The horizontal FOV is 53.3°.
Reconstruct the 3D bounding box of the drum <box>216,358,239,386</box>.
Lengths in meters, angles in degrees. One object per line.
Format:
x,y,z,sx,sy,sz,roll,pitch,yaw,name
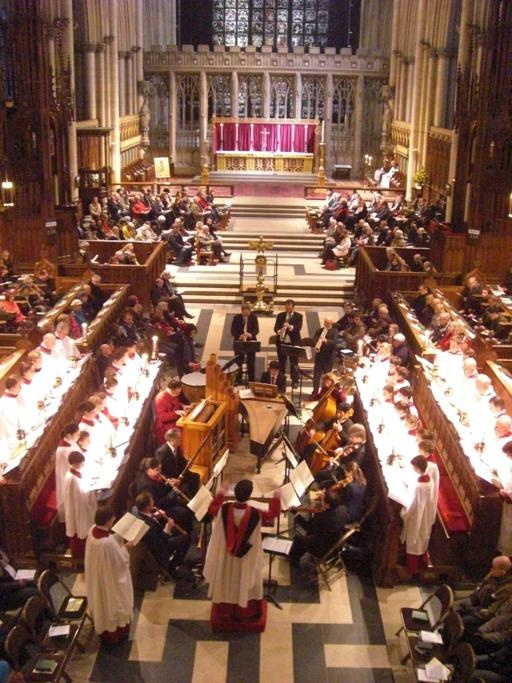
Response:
-0.535,0.570,9.855,0.427,0.222,0.565,1,17,-1,drum

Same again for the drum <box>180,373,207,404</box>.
-1.141,0.812,9.277,0.438,0.375,0.501,1,21,-1,drum

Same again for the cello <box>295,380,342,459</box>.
0.977,1.194,7.879,0.686,1.109,0.846,6,22,9,cello

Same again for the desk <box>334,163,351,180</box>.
5.307,-10.702,32.099,0.927,0.842,1.113,0,23,1,desk

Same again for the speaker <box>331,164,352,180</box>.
5.275,-10.615,32.144,1.018,0.811,1.198,1,21,2,speaker
